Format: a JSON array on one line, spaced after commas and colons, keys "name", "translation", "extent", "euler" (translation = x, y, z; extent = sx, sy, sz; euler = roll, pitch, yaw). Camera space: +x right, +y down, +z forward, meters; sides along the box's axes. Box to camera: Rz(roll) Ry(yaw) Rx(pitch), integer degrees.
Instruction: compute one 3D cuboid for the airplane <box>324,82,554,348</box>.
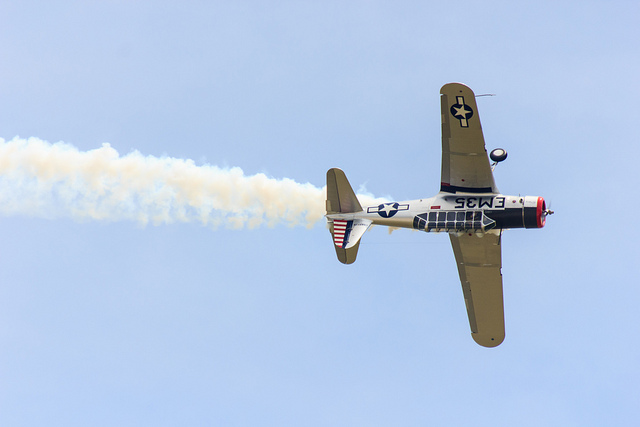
[{"name": "airplane", "translation": [4.249, -0.281, 46.916], "extent": [8.278, 11.113, 3.343], "euler": [-4, -64, 1]}]
